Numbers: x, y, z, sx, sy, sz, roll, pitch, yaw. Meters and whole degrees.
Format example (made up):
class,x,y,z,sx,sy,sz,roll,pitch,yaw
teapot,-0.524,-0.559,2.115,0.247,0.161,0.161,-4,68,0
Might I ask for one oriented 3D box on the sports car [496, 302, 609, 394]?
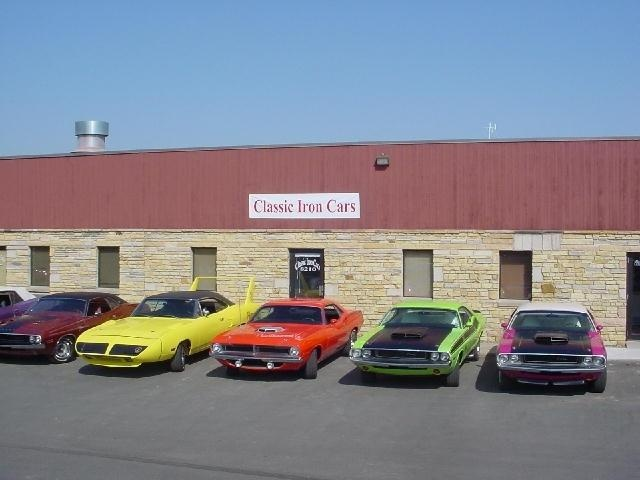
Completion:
class,x,y,z,sx,sy,sz,roll,pitch,yaw
sports car,5.373,2.101,18.429,2.390,1.176,4.246,1,13,14

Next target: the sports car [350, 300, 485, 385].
class,x,y,z,sx,sy,sz,roll,pitch,yaw
sports car,2.307,2.478,18.465,2.279,1.467,3.026,5,13,20
